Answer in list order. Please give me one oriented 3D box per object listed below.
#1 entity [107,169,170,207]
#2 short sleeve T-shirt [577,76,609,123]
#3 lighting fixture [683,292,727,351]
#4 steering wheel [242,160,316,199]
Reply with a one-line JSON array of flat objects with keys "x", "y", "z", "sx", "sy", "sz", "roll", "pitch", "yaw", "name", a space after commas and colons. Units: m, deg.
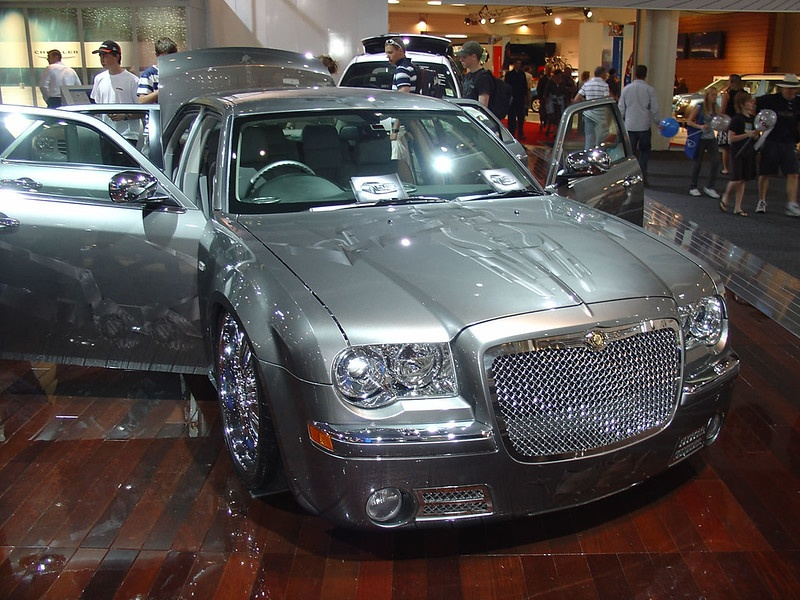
[{"x": -1.387, "y": -0.606, "z": 2.611, "sx": 0.256, "sy": 0.105, "sz": 0.193, "roll": 14, "pitch": 36, "yaw": 2, "name": "entity"}, {"x": 4.729, "y": -4.884, "z": 11.722, "sx": 0.821, "sy": 1.155, "sz": 0.408, "roll": 19, "pitch": 50, "yaw": 37, "name": "short sleeve T-shirt"}, {"x": 1.339, "y": 0.112, "z": 2.147, "sx": 0.194, "sy": 0.080, "sz": 0.260, "roll": -35, "pitch": 25, "yaw": 60, "name": "lighting fixture"}, {"x": -0.645, "y": -0.709, "z": 2.884, "sx": 0.399, "sy": 0.113, "sz": 0.417, "roll": -5, "pitch": 19, "yaw": 2, "name": "steering wheel"}]
